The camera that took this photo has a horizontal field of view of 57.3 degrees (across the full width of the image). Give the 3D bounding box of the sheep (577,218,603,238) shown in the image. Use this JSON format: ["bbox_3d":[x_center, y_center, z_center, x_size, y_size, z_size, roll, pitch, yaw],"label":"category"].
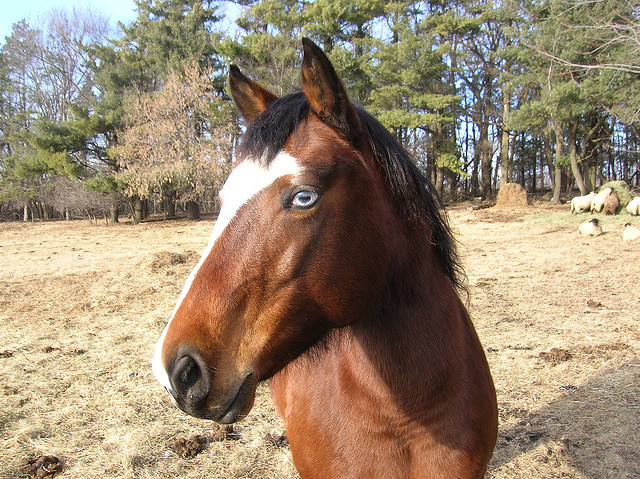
[{"bbox_3d":[7.628,-0.321,16.597,0.311,0.503,0.765,-1,-1,3],"label":"sheep"}]

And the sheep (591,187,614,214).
[{"bbox_3d":[9.253,-1.285,19.251,0.653,0.815,0.528,2,5,29],"label":"sheep"}]

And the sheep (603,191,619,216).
[{"bbox_3d":[9.493,-1.203,19.003,0.637,0.741,0.362,-3,5,-33],"label":"sheep"}]

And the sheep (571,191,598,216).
[{"bbox_3d":[9.073,-1.215,19.819,0.948,0.854,0.482,-7,9,1],"label":"sheep"}]

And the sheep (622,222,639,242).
[{"bbox_3d":[8.343,-0.169,15.732,0.403,0.381,0.260,2,5,31],"label":"sheep"}]
